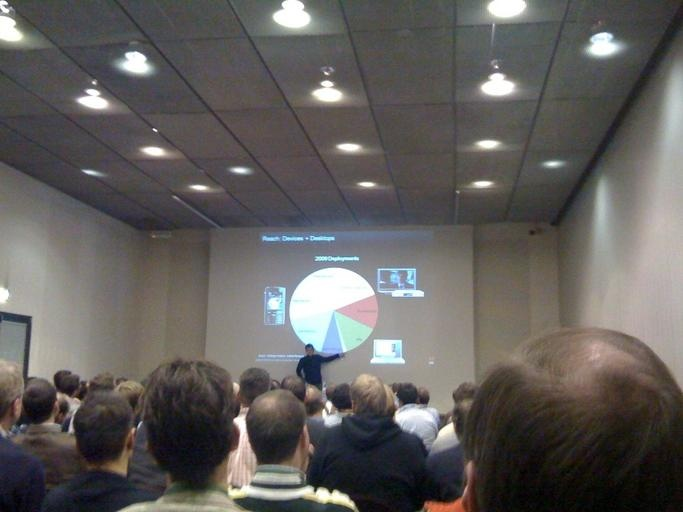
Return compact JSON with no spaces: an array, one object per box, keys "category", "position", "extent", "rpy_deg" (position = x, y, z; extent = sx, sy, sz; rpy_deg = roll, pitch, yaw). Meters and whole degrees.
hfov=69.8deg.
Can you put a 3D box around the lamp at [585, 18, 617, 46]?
[{"category":"lamp","position":[2.283,-1.984,4.338],"extent":[0.142,0.034,0.143],"rpy_deg":[-13,-23,43]}]
